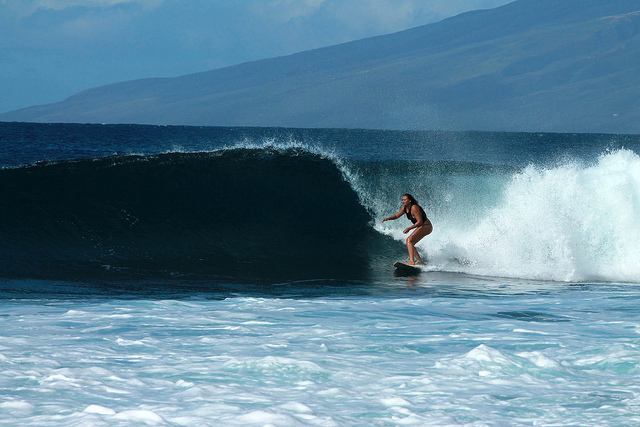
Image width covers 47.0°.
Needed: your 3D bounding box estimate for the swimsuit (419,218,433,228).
[{"bbox_3d":[1.995,0.197,14.058,0.295,0.083,0.302,-4,-8,-7],"label":"swimsuit"}]
